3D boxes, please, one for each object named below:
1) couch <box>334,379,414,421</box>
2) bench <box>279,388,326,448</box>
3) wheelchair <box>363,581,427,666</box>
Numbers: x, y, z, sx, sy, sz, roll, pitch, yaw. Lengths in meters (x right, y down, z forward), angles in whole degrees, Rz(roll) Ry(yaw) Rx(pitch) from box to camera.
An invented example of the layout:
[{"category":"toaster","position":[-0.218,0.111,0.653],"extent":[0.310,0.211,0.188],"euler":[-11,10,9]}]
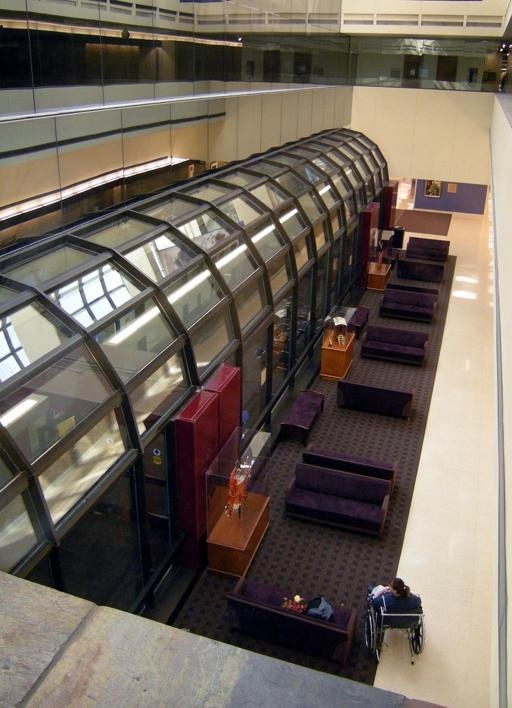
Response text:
[{"category":"couch","position":[2.859,0.888,11.550],"extent":[1.760,0.925,0.830],"euler":[9,37,18]},{"category":"bench","position":[0.974,0.937,10.428],"extent":[0.774,0.733,1.900],"euler":[8,39,14]},{"category":"wheelchair","position":[1.844,3.466,6.590],"extent":[0.693,0.945,1.078],"euler":[-4,26,-4]}]
